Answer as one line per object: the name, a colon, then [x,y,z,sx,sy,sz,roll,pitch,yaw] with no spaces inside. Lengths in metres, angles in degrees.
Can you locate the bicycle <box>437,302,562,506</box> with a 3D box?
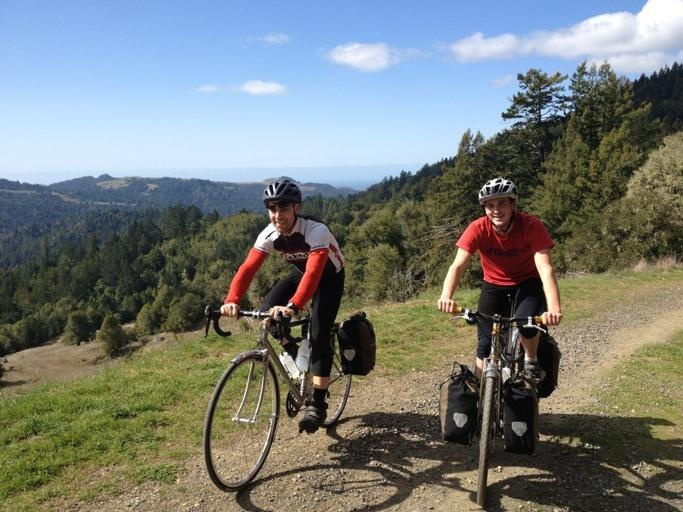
bicycle: [2.105,1.875,7.589,1.035,2.407,1.373,5,12,27]

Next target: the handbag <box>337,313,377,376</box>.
handbag: [0.253,1.316,8.774,0.469,0.966,0.610,1,9,31]

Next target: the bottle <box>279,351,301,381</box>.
bottle: [-0.752,1.567,8.187,0.082,0.449,0.208,-18,13,40]

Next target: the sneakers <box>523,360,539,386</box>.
sneakers: [2.561,1.601,7.754,0.141,0.295,0.448,-10,-37,16]

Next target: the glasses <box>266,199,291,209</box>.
glasses: [-0.891,-0.720,8.021,0.168,0.094,0.222,1,15,9]

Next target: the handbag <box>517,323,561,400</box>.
handbag: [3.052,1.566,8.389,0.554,1.028,0.985,-7,-8,21]

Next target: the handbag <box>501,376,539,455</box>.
handbag: [2.320,2.067,7.410,0.432,0.867,0.403,3,11,16]
